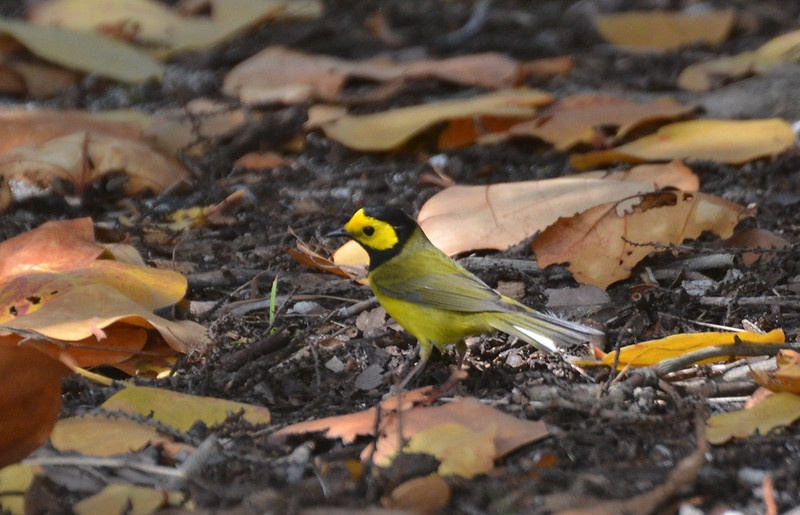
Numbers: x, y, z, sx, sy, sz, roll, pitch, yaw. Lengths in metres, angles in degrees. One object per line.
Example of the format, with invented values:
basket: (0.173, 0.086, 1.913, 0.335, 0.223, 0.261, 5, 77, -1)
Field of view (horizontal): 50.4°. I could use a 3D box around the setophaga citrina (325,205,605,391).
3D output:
setophaga citrina: (0.223, 0.161, 4.036, 0.690, 0.301, 1.220, -34, 53, -10)
